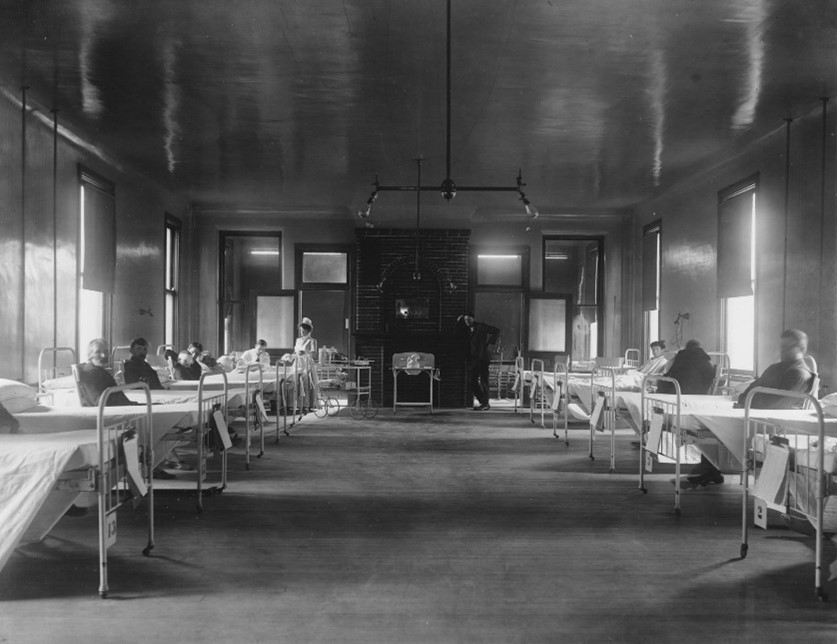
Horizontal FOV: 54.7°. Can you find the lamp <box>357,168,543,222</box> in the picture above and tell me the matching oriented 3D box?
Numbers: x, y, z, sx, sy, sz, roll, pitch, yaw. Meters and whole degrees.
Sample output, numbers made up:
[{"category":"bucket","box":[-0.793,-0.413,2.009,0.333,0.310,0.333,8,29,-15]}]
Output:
[{"category":"lamp","box":[0.359,-1.588,9.592,1.508,0.434,1.553,0,0,-3]}]

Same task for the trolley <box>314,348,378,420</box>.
[{"category":"trolley","box":[-1.219,0.980,13.007,0.853,0.968,1.461,0,1,-3]}]

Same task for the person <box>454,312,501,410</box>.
[{"category":"person","box":[0.963,0.669,13.409,0.680,1.502,0.468,0,6,2]}]

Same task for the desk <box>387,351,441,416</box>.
[{"category":"desk","box":[-0.053,0.974,13.116,0.820,0.973,0.911,0,6,0]}]
